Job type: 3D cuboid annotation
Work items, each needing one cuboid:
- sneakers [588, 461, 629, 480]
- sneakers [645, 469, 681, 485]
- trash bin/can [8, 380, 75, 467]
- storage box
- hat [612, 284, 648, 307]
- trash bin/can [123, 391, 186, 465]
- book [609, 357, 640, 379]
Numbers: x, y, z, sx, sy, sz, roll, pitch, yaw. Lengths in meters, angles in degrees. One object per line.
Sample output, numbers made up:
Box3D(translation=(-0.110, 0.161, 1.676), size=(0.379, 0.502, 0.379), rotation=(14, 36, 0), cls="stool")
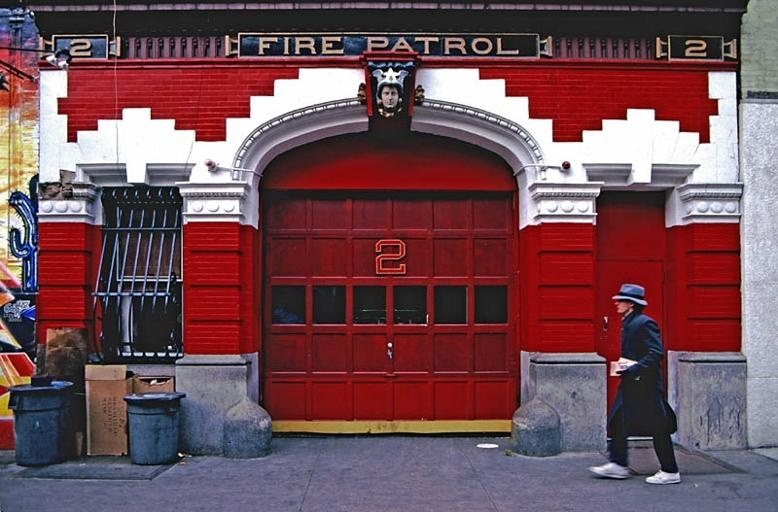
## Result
Box3D(translation=(3.690, 3.578, 24.482), size=(0.699, 0.273, 0.257), rotation=(3, -10, 4), cls="sneakers")
Box3D(translation=(4.607, 3.688, 24.389), size=(0.588, 0.214, 0.217), rotation=(2, -6, 4), cls="sneakers")
Box3D(translation=(-6.075, 2.935, 25.708), size=(1.443, 1.480, 1.449), rotation=(5, -7, -26), cls="trash bin/can")
Box3D(translation=(-4.553, 2.734, 25.197), size=(1.744, 1.487, 0.899), rotation=(0, -7, -4), cls="storage box")
Box3D(translation=(4.101, 0.666, 24.439), size=(0.541, 0.252, 0.419), rotation=(20, -3, 8), cls="hat")
Box3D(translation=(-4.231, 2.996, 25.377), size=(1.350, 1.105, 1.154), rotation=(0, -7, -4), cls="trash bin/can")
Box3D(translation=(3.860, 1.852, 24.389), size=(0.505, 0.325, 0.161), rotation=(-3, -10, 27), cls="book")
